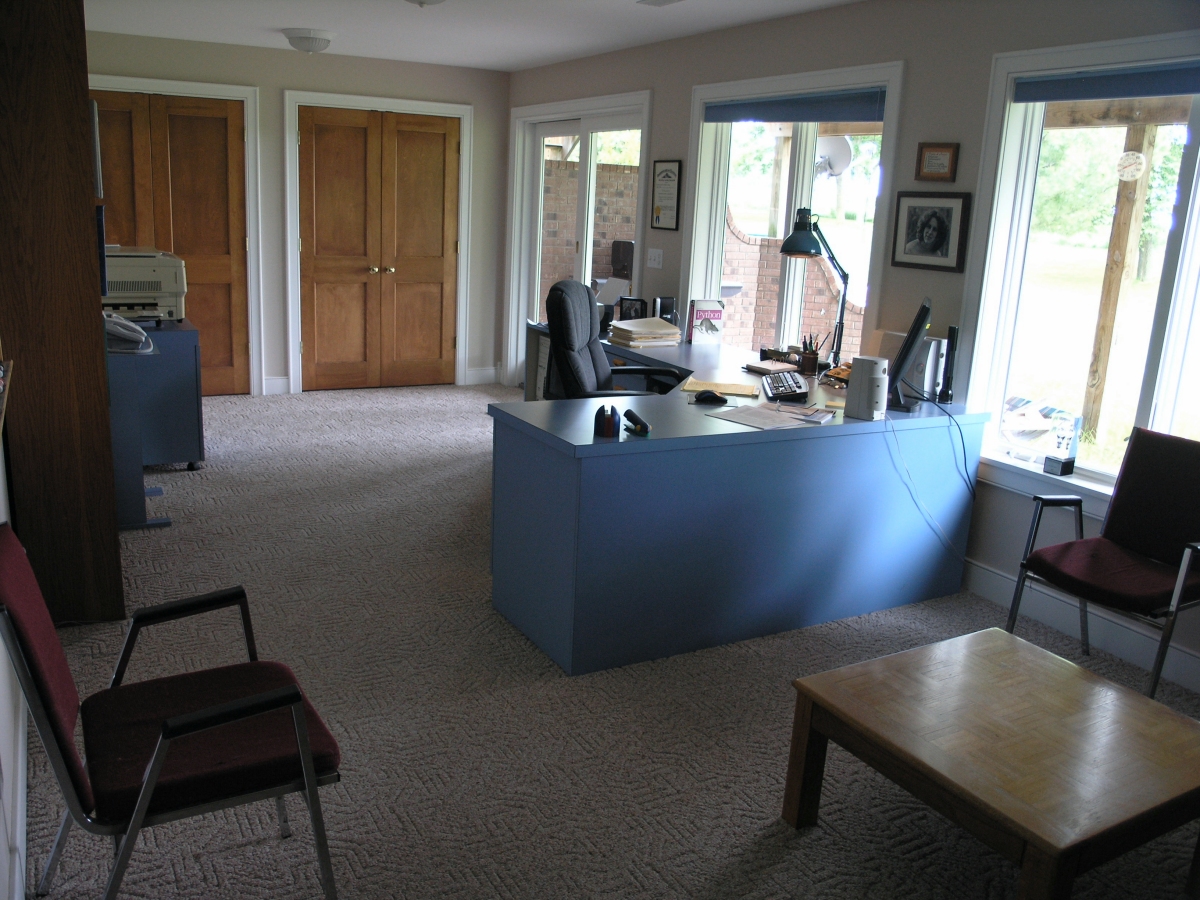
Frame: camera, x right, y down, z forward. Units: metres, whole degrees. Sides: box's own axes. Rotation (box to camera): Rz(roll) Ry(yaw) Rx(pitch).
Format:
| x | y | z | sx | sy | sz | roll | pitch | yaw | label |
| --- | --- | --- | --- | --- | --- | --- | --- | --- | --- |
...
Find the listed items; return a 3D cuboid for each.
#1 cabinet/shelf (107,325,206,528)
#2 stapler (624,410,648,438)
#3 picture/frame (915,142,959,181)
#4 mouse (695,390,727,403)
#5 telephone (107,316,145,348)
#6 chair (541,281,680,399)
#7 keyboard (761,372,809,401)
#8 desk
| x | y | z | sx | sy | sz | roll | pitch | yaw | label |
| --- | --- | --- | --- | --- | --- | --- | --- | --- | --- |
| -2.446 | -0.145 | 4.673 | 0.330 | 0.798 | 0.939 | -4 | 15 | -21 | cabinet/shelf |
| 0.140 | -0.098 | 3.247 | 0.094 | 0.031 | 0.094 | 5 | 21 | -8 | stapler |
| 1.641 | -1.395 | 4.122 | 0.013 | 0.170 | 0.193 | -4 | 19 | -28 | picture/frame |
| 0.503 | -0.248 | 3.817 | 0.114 | 0.044 | 0.062 | -4 | 11 | -28 | mouse |
| -2.617 | -0.658 | 4.685 | 0.157 | 0.084 | 0.203 | -2 | 16 | -31 | telephone |
| 0.041 | -0.568 | 4.729 | 0.747 | 0.945 | 0.645 | -1 | 16 | -4 | chair |
| 0.872 | -0.296 | 3.985 | 0.139 | 0.052 | 0.198 | 3 | 22 | -3 | keyboard |
| 0.515 | 0.038 | 3.555 | 1.411 | 0.626 | 1.408 | -4 | 15 | -16 | desk |
